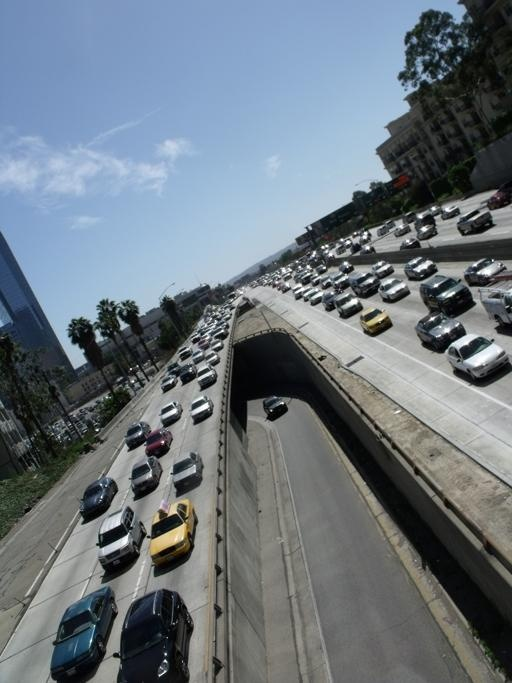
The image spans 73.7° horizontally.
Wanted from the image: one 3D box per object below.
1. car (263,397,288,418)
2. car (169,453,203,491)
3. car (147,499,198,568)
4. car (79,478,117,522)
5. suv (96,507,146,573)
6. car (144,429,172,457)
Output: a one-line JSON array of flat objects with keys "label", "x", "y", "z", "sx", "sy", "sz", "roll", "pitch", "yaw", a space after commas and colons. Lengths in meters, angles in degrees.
[{"label": "car", "x": 2.144, "y": 7.252, "z": 38.269, "sx": 2.300, "sy": 2.278, "sz": 1.554, "roll": -24, "pitch": 7, "yaw": 13}, {"label": "car", "x": -4.051, "y": 7.310, "z": 19.840, "sx": 1.804, "sy": 1.326, "sz": 2.840, "roll": -22, "pitch": 3, "yaw": -2}, {"label": "car", "x": -3.536, "y": 7.815, "z": 14.484, "sx": 1.526, "sy": 1.298, "sz": 3.991, "roll": -22, "pitch": -4, "yaw": -11}, {"label": "car", "x": -10.899, "y": 10.524, "z": 23.668, "sx": 1.854, "sy": 1.432, "sz": 4.318, "roll": -23, "pitch": 1, "yaw": -11}, {"label": "suv", "x": -6.379, "y": 9.159, "z": 16.108, "sx": 1.622, "sy": 1.681, "sz": 3.526, "roll": -22, "pitch": -3, "yaw": -16}, {"label": "car", "x": -7.507, "y": 7.853, "z": 27.178, "sx": 1.415, "sy": 1.073, "sz": 2.403, "roll": -22, "pitch": 7, "yaw": 3}]
